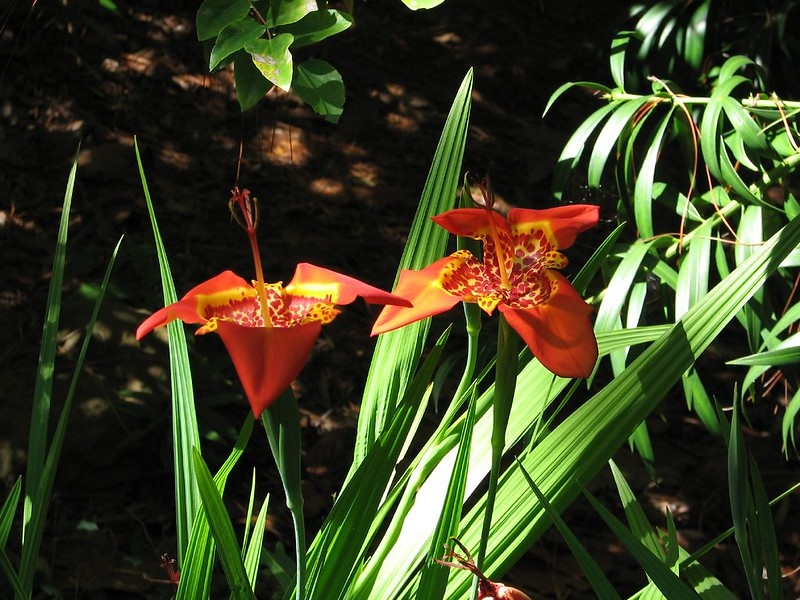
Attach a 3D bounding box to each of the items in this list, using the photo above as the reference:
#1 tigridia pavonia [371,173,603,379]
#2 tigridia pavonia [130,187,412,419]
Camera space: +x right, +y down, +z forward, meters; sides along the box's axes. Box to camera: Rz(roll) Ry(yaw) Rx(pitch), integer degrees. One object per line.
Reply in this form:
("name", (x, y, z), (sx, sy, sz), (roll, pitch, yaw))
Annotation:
("tigridia pavonia", (0.150, -0.043, 0.986), (0.229, 0.218, 0.044), (20, -26, -33))
("tigridia pavonia", (-0.166, -0.025, 1.016), (0.337, 0.240, 0.372), (-13, -7, 8))
